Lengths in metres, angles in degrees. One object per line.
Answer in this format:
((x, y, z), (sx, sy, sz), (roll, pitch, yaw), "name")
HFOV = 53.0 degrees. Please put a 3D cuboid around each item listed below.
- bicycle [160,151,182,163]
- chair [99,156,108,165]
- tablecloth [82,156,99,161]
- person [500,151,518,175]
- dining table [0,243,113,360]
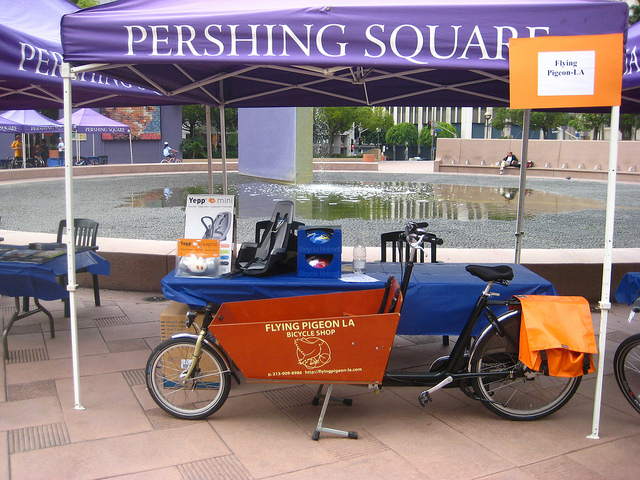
((-8.101, -4.341, 35.116), (1.113, 0.598, 0.626), (-6, 23, -14), "bicycle")
((-11.516, -4.201, 34.324), (0.396, 0.420, 3.477), (-2, 7, -19), "chair")
((-11.806, -4.200, 33.448), (0.480, 0.250, 3.463), (-1, 7, -17), "tablecloth")
((9.368, -3.785, 32.004), (0.584, 1.122, 1.132), (5, 9, 32), "person")
((-2.893, 0.560, 7.135), (1.394, 0.658, 1.304), (3, 11, 9), "dining table")
